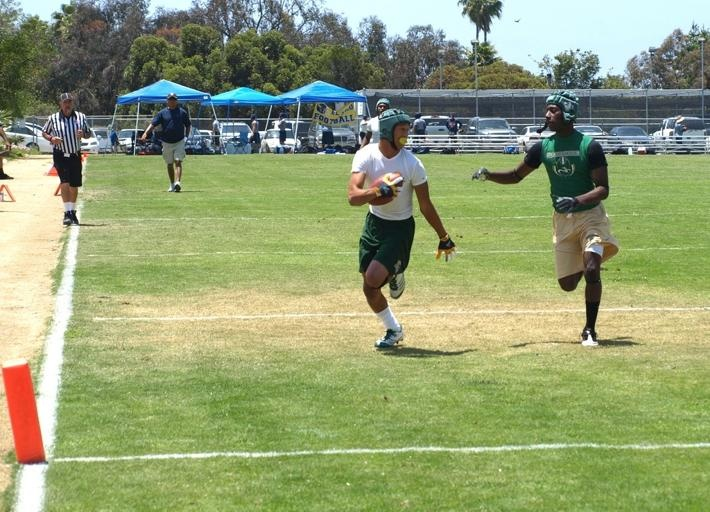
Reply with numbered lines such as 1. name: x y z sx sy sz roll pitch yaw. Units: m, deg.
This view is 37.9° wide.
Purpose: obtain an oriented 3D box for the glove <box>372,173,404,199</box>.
1. glove: 0.276 -0.644 9.398 0.257 0.220 0.304 0 6 0

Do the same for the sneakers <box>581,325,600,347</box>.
1. sneakers: 2.216 0.762 9.869 0.166 0.170 0.336 1 6 12

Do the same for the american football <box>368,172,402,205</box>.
1. american football: 0.298 -0.624 9.393 0.364 0.181 0.247 3 0 18

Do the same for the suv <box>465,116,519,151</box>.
1. suv: 6.043 -5.605 46.645 1.503 1.034 2.291 -1 3 -10

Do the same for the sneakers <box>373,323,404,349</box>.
1. sneakers: 0.306 0.785 9.770 0.133 0.150 0.369 2 4 44

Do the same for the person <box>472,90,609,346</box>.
1. person: 1.998 -0.402 10.159 1.081 2.417 0.712 4 7 36

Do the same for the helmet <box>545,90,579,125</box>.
1. helmet: 1.988 -1.460 10.028 0.288 0.313 0.324 1 6 9

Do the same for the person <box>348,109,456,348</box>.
1. person: 0.386 -0.257 9.794 0.948 2.248 1.023 1 6 2

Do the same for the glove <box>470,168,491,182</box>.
1. glove: 1.219 -0.819 10.350 0.136 0.063 0.158 3 -9 -19

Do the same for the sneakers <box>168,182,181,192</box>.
1. sneakers: -3.964 -1.483 22.197 0.154 0.144 0.366 2 -13 -7

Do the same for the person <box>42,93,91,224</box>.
1. person: -4.792 -1.605 16.931 0.714 2.160 0.901 1 6 3

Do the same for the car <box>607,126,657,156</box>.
1. car: 12.377 -5.348 47.645 1.437 0.773 2.662 0 2 -1

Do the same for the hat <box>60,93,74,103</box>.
1. hat: -4.840 -2.624 17.034 0.261 0.110 0.376 -2 3 -11

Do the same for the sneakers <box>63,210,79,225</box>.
1. sneakers: -4.660 -0.626 16.740 0.250 0.248 0.310 -1 6 -14

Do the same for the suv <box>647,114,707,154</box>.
1. suv: 14.651 -5.746 48.298 2.224 1.630 3.373 -1 9 -9

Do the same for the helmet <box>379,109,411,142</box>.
1. helmet: 0.332 -1.198 9.509 0.325 0.274 0.294 -4 3 45
